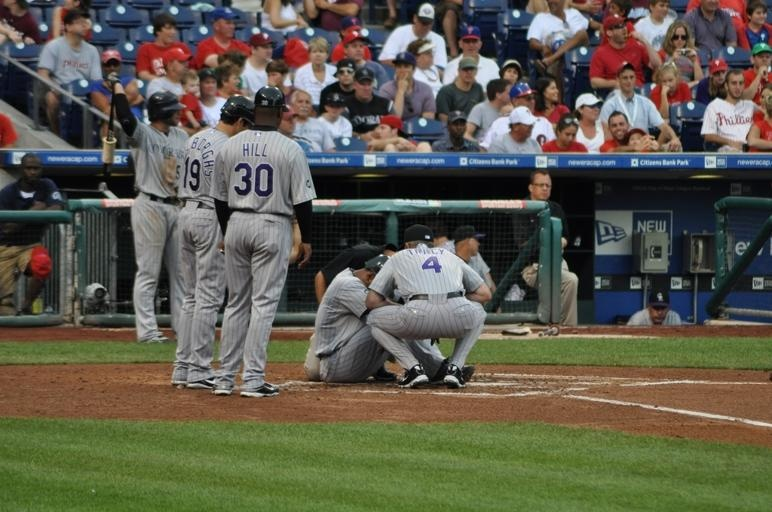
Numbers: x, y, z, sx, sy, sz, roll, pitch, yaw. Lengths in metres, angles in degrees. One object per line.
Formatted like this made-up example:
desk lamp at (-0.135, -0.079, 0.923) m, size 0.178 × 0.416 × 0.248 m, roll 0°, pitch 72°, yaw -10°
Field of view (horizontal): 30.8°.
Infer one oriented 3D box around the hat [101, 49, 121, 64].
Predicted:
hat at (-3.818, -2.741, 19.360) m, size 0.204 × 0.268 × 0.459 m, roll 4°, pitch -3°, yaw -20°

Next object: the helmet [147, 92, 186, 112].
helmet at (-2.556, -1.750, 16.092) m, size 0.338 × 0.164 × 0.241 m, roll -4°, pitch 14°, yaw -6°

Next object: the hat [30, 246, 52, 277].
hat at (-4.636, 0.099, 18.650) m, size 0.266 × 0.458 × 0.160 m, roll 4°, pitch -3°, yaw -17°

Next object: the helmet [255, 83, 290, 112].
helmet at (-1.207, -1.624, 14.445) m, size 0.334 × 0.278 × 0.277 m, roll 4°, pitch -3°, yaw -16°

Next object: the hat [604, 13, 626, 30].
hat at (3.563, -3.676, 21.976) m, size 0.318 × 0.166 × 0.234 m, roll -9°, pitch 16°, yaw 17°

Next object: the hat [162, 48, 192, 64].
hat at (-3.122, -2.961, 20.651) m, size 0.423 × 0.193 × 0.256 m, roll 5°, pitch 11°, yaw 25°

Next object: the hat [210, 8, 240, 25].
hat at (-2.600, -3.713, 21.626) m, size 0.554 × 0.274 × 0.377 m, roll 6°, pitch 10°, yaw 25°

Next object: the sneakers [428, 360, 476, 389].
sneakers at (0.691, 1.304, 15.081) m, size 0.208 × 0.276 × 0.623 m, roll 4°, pitch 5°, yaw 28°

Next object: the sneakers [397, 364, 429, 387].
sneakers at (0.277, 1.316, 14.932) m, size 0.323 × 0.249 × 0.283 m, roll 3°, pitch -3°, yaw 1°

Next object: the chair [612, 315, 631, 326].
chair at (3.486, 0.999, 20.925) m, size 0.256 × 0.164 × 0.136 m, roll 0°, pitch 33°, yaw 0°

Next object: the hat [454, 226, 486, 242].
hat at (1.000, -0.242, 16.143) m, size 0.366 × 0.124 × 0.231 m, roll -2°, pitch 2°, yaw -16°

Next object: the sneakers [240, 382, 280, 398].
sneakers at (-1.297, 1.404, 14.391) m, size 0.402 × 0.162 × 0.145 m, roll -5°, pitch 8°, yaw -23°

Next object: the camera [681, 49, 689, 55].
camera at (4.769, -3.261, 22.403) m, size 0.100 × 0.086 × 0.023 m, roll 0°, pitch -3°, yaw -6°

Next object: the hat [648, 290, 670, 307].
hat at (3.834, 0.630, 19.762) m, size 0.265 × 0.267 × 0.317 m, roll 3°, pitch -3°, yaw 10°

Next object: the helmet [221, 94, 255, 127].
helmet at (-1.541, -1.536, 14.675) m, size 0.589 × 0.332 × 0.247 m, roll 0°, pitch -4°, yaw 45°

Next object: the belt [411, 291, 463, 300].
belt at (0.514, 0.444, 14.837) m, size 0.576 × 0.135 × 0.068 m, roll 4°, pitch -3°, yaw -13°

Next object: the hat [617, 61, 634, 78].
hat at (3.625, -2.846, 21.269) m, size 0.219 × 0.169 × 0.350 m, roll 0°, pitch 0°, yaw -3°

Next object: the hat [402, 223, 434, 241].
hat at (0.345, -0.226, 15.157) m, size 0.293 × 0.191 × 0.267 m, roll 3°, pitch -3°, yaw 2°

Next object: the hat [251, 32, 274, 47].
hat at (-1.913, -3.246, 21.029) m, size 0.348 × 0.178 × 0.253 m, roll 10°, pitch 16°, yaw 23°

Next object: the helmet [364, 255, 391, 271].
helmet at (-0.121, 0.094, 15.112) m, size 0.251 × 0.184 × 0.412 m, roll 3°, pitch -3°, yaw -2°
